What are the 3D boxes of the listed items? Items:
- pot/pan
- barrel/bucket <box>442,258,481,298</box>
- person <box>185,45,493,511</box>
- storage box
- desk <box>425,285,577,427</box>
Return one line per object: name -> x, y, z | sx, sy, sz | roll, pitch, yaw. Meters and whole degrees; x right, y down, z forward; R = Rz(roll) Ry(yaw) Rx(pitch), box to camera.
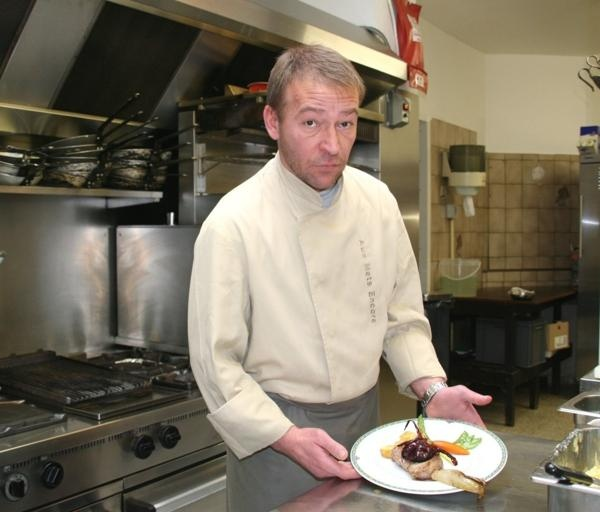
pot/pan -> -0.733, -0.408, 2.011 | 0.554, 0.202, 0.341 | -9, -5, 39
barrel/bucket -> 1.322, 0.186, 4.378 | 0.352, 0.290, 0.339 | 0, -1, 0
person -> 0.086, 0.016, 1.150 | 0.618, 0.825, 0.413 | 0, 0, -24
storage box -> 1.696, 0.670, 4.104 | 0.376, 0.323, 0.663 | 0, 0, 29
desk -> 1.576, 0.745, 4.105 | 1.027, 0.800, 1.315 | 2, 6, 39
